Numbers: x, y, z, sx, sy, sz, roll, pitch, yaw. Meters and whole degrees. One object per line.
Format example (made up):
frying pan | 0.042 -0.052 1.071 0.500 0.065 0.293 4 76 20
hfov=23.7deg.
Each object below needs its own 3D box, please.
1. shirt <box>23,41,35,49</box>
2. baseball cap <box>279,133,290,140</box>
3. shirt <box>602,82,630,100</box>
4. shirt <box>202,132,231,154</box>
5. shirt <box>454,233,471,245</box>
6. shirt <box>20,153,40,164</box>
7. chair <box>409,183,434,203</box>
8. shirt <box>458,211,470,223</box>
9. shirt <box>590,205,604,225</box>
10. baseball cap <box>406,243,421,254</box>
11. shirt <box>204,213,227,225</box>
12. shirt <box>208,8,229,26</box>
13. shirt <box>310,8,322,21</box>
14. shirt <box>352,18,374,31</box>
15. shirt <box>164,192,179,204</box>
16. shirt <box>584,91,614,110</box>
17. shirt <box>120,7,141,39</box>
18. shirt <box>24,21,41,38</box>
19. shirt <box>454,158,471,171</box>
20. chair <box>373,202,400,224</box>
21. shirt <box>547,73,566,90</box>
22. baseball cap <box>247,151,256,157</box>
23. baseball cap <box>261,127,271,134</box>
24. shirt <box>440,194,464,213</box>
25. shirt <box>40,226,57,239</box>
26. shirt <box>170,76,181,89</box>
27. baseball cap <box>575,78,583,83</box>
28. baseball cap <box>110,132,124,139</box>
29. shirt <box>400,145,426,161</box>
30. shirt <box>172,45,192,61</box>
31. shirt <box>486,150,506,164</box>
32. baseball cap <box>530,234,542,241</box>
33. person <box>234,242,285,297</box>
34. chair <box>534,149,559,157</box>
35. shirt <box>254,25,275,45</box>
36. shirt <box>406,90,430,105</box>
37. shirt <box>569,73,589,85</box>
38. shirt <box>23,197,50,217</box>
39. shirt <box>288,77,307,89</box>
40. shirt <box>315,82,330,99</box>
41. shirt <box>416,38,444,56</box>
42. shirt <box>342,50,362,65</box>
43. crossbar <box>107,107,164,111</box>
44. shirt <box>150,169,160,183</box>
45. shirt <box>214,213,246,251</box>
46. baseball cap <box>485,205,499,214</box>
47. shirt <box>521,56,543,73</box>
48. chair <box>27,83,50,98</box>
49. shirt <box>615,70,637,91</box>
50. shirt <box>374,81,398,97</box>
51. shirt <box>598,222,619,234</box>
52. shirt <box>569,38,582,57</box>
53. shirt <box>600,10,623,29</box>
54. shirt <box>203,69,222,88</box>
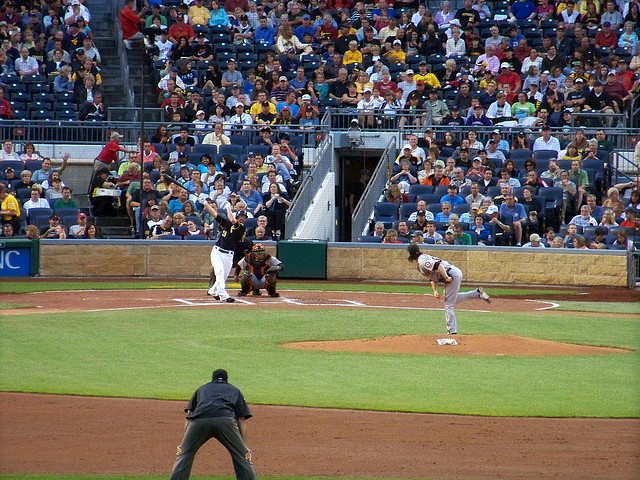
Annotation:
shirt | -9.918 -6.545 51.456 0.285 0.285 0.693 3 4 15
baseball cap | -1.142 -3.214 47.480 0.301 0.188 0.595 2 4 -3
shirt | 9.364 -4.805 48.207 0.924 0.563 0.466 14 -9 21
shirt | -3.289 -3.023 47.712 0.886 0.632 0.615 2 4 -5
shirt | 4.120 -0.006 44.049 0.543 0.514 0.290 -3 0 6
shirt | -9.094 -2.530 47.370 0.593 0.271 0.628 1 4 -14
chair | 3.017 -1.420 45.663 0.564 0.704 0.634 1 2 7
shirt | 4.202 -0.661 44.578 0.302 0.293 0.150 3 4 9
shirt | 7.987 -0.710 44.010 0.385 0.515 0.355 3 4 11
baseball cap | 2.230 0.205 35.531 0.272 0.221 0.411 7 1 -15
shirt | -3.179 -0.648 45.231 0.575 0.486 0.634 2 -7 -33
shirt | -3.654 -7.780 54.232 0.726 0.824 0.564 -1 0 -3
shirt | -0.205 -7.938 54.085 0.557 0.477 0.308 1 -2 0
shirt | 1.461 -7.440 52.940 0.804 0.404 0.454 1 4 -14
shirt | -4.524 -1.292 45.550 0.353 0.193 0.269 -11 -6 25
shirt | 8.738 -4.318 47.770 1.005 0.770 0.532 1 -1 26
shirt | -6.462 -7.186 51.073 0.592 1.010 0.669 2 4 -7
shirt | -9.921 -7.163 52.230 0.564 0.523 0.498 1 4 -17
shirt | 4.306 -2.285 45.909 0.338 0.322 0.712 0 5 -31
chair | 1.959 -0.811 45.622 0.735 0.731 0.621 1 3 14
shirt | 7.614 -5.086 49.105 0.559 0.557 0.835 3 4 8
baseball cap | -2.160 -2.652 47.251 0.180 0.126 0.191 -4 2 21
baseball cap | -1.725 -3.407 47.748 0.281 0.193 0.230 2 4 -5
shirt | 3.937 -1.154 45.075 0.737 0.797 0.438 4 1 16
shirt | -8.134 -0.235 45.119 0.428 0.152 0.317 -4 -34 13
shirt | -4.867 -5.195 50.460 0.229 0.373 0.442 1 4 -22
baseball cap | 8.185 -5.007 48.221 0.234 0.127 0.239 3 4 5
baseball cap | -6.274 -3.178 46.701 0.234 0.150 0.356 7 9 42
shirt | 2.835 -2.585 46.799 0.815 0.654 0.420 -1 -24 13
shirt | -4.755 -6.283 51.973 0.653 0.773 0.480 0 -7 5
shirt | 5.330 -2.570 46.280 0.580 0.294 0.494 2 4 -3
baseball cap | 6.165 -0.074 43.839 0.266 0.187 0.290 3 4 4
person | -1.659 0.767 40.661 1.359 1.465 0.907 1 5 10
chair | 6.814 -2.600 45.911 0.736 0.254 0.364 3 4 6
shirt | -2.005 -7.170 53.515 0.775 0.691 0.525 3 4 5
shirt | 3.146 -4.598 48.897 0.760 0.521 0.397 0 -14 10
shirt | 8.266 -5.107 48.650 0.612 0.582 0.321 1 -6 2
shirt | -8.557 -0.816 45.649 0.890 0.652 0.459 -2 -5 -14
shirt | -0.777 -5.278 50.311 0.588 0.564 0.334 5 17 6
shirt | 0.042 -4.864 50.042 0.552 0.526 0.317 2 -2 21
shirt | 3.700 -6.511 51.626 0.943 0.555 0.379 3 4 2
shirt | 1.057 -6.089 51.558 0.748 0.573 0.415 1 -1 21
crossbar | -6.087 -4.217 49.307 1.718 0.120 0.828 0 4 -29
shirt | -5.089 -1.947 46.489 0.286 0.392 0.317 1 5 -10
shirt | -2.524 -0.125 39.590 0.615 0.891 0.870 30 -2 -28
baseball cap | 4.931 -0.878 44.062 0.371 0.261 0.178 4 5 28
shirt | 6.917 -5.744 49.933 0.822 0.575 0.454 1 -6 31
chair | -9.432 -4.980 50.494 0.621 0.378 0.447 2 2 -9
shirt | 9.725 -5.023 48.500 0.641 0.608 0.356 3 -20 30
shirt | 2.107 -4.705 49.535 0.812 0.780 0.445 1 0 7
shirt | 8.278 -0.348 43.797 0.586 0.318 0.348 3 4 10
shirt | 8.509 -6.417 50.885 0.356 0.611 0.925 3 4 9
shirt | 9.906 -7.441 51.782 0.737 0.583 0.540 3 4 11
shirt | -3.598 -5.337 50.932 0.689 0.992 0.570 -1 17 -8
